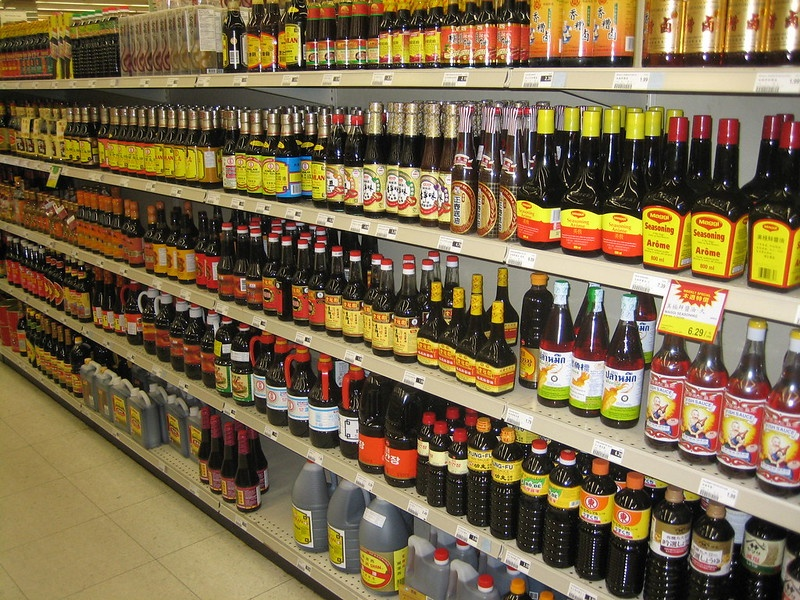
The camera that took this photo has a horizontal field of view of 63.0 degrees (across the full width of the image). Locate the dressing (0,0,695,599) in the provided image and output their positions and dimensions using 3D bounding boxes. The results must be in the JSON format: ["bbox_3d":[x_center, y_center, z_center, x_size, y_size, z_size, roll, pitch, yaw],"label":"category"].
[{"bbox_3d":[-0.271,0.048,2.947,0.406,1.429,3.058,-17,27,-41],"label":"dressing"}]

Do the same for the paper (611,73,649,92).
[{"bbox_3d":[0.695,-0.655,1.952,0.105,0.054,0.081,4,17,21],"label":"paper"}]
